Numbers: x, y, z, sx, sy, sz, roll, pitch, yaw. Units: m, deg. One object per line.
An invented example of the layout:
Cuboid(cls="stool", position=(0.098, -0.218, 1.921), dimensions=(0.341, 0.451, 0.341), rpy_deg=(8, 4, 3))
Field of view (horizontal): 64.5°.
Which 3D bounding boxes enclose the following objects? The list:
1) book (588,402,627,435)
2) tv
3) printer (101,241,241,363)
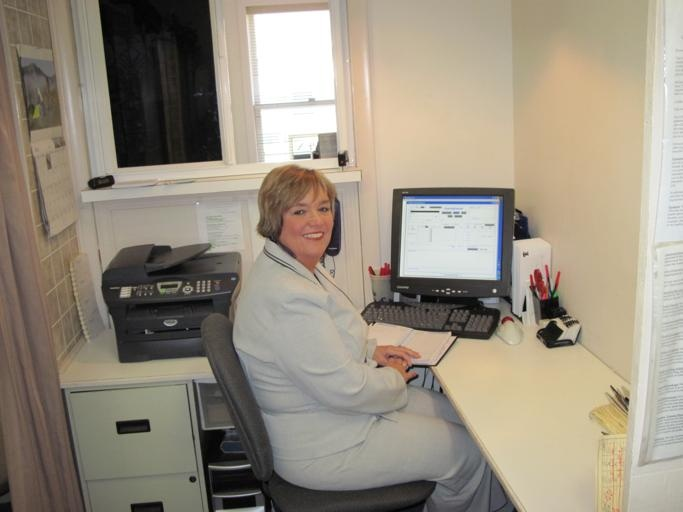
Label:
Cuboid(cls="book", position=(0.772, 0.461, 1.551), dimensions=(0.088, 0.024, 0.087), rpy_deg=(-10, 27, 7))
Cuboid(cls="tv", position=(0.522, -0.057, 2.518), dimensions=(0.513, 0.491, 0.200), rpy_deg=(1, 7, 10))
Cuboid(cls="printer", position=(-0.744, 0.234, 2.511), dimensions=(0.647, 0.491, 0.481), rpy_deg=(-3, 21, -8))
